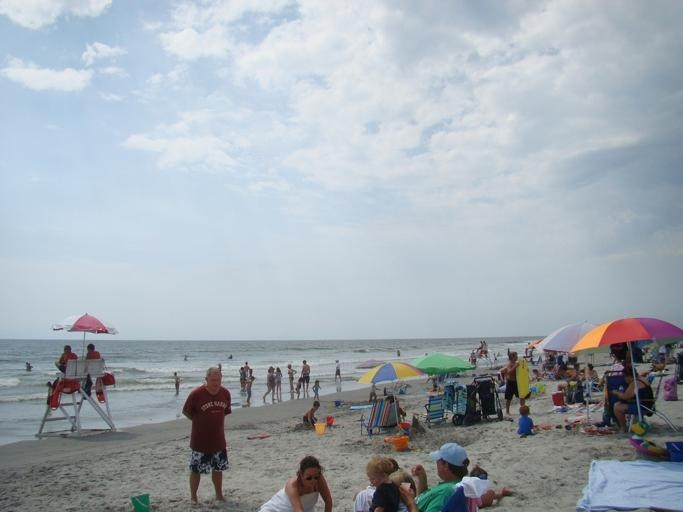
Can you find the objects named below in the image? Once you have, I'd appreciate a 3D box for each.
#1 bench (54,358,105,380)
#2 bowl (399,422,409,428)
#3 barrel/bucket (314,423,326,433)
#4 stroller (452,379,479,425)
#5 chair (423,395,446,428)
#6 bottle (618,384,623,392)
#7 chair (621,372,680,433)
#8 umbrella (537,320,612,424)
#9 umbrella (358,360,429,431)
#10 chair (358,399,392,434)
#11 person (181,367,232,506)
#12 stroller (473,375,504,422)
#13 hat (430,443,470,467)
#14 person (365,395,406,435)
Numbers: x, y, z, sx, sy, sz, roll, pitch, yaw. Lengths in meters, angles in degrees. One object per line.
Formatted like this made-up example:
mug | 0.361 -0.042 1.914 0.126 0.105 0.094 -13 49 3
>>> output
bench | -7.185 3.164 14.307 0.441 0.553 1.164 -9 -13 30
bowl | 1.509 4.004 12.106 0.255 0.101 0.370 -5 -12 9
barrel/bucket | -0.583 4.751 14.152 0.256 0.181 0.259 0 -14 0
stroller | 3.232 3.871 13.299 0.865 1.261 0.794 -1 -8 17
chair | 2.468 4.186 13.964 0.547 0.820 0.813 2 -11 -6
bottle | 5.783 2.734 10.616 0.083 0.085 0.155 22 2 34
chair | 6.404 2.980 10.429 1.260 1.284 0.852 0 -10 41
umbrella | 6.327 2.488 13.405 1.636 1.583 1.746 -7 10 -38
umbrella | 1.397 3.616 13.087 1.754 1.844 1.711 1 -16 -40
chair | 0.952 4.061 13.319 0.568 0.312 0.968 -7 17 22
person | -2.260 3.012 8.598 0.742 2.244 1.058 0 -12 -15
stroller | 3.846 3.783 13.740 0.895 1.219 0.908 -3 -11 -3
hat | 1.474 2.672 6.976 0.420 0.220 0.298 2 4 22
person | 1.090 4.125 13.435 0.774 0.600 1.184 1 -38 -22
